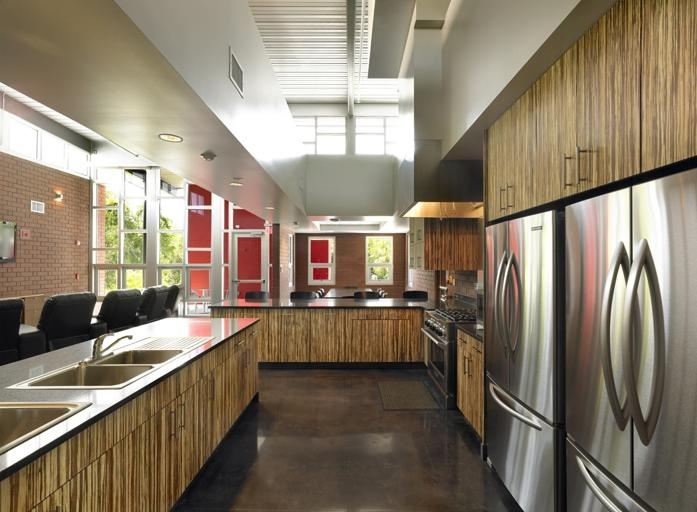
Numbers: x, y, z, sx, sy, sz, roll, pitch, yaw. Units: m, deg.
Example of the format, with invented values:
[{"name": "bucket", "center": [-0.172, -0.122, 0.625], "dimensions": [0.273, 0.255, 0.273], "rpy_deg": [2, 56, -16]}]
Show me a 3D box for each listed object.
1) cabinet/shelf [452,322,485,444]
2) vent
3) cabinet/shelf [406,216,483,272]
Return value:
[{"name": "cabinet/shelf", "center": [1.061, 1.126, 4.461], "dimensions": [0.350, 0.886, 0.960], "rpy_deg": [0, -2, 5]}, {"name": "vent", "center": [0.902, -1.296, 4.964], "dimensions": [0.589, 1.791, 1.817], "rpy_deg": [1, -4, -3]}, {"name": "cabinet/shelf", "center": [1.238, -0.120, 6.443], "dimensions": [0.629, 0.538, 0.687], "rpy_deg": [1, -2, -1]}]
